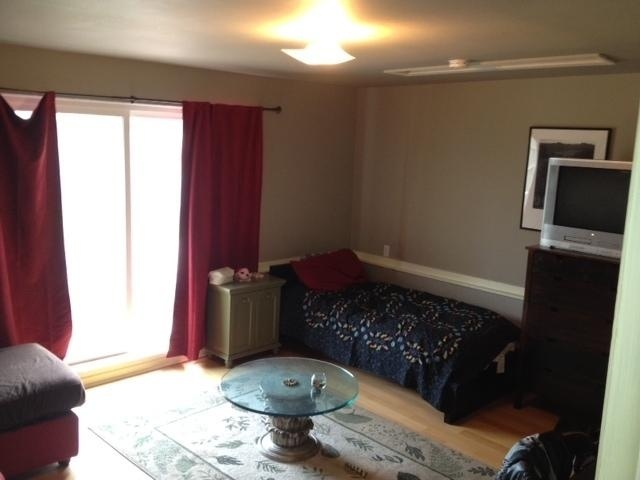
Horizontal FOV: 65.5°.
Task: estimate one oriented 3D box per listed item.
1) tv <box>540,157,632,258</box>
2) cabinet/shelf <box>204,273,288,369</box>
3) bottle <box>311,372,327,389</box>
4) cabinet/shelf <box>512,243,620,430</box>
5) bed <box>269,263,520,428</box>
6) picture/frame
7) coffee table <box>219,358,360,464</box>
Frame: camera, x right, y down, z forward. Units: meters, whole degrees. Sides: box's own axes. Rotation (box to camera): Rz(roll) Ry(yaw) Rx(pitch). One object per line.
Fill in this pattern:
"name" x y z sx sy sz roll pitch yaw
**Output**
"tv" 1.882 -0.227 3.523 0.393 0.653 0.708 -4 9 -37
"cabinet/shelf" -0.738 0.768 4.802 0.403 0.713 0.726 6 6 38
"bottle" -0.008 0.985 3.501 0.097 0.091 0.098 0 1 15
"cabinet/shelf" 1.905 0.757 3.901 0.642 1.378 0.410 8 15 33
"bed" 0.663 0.796 4.520 1.693 0.738 1.115 17 20 41
"picture/frame" 1.991 -0.504 3.971 0.040 1.039 0.756 -10 20 -35
"coffee table" -0.213 1.247 3.574 0.927 0.508 0.923 -4 12 -40
